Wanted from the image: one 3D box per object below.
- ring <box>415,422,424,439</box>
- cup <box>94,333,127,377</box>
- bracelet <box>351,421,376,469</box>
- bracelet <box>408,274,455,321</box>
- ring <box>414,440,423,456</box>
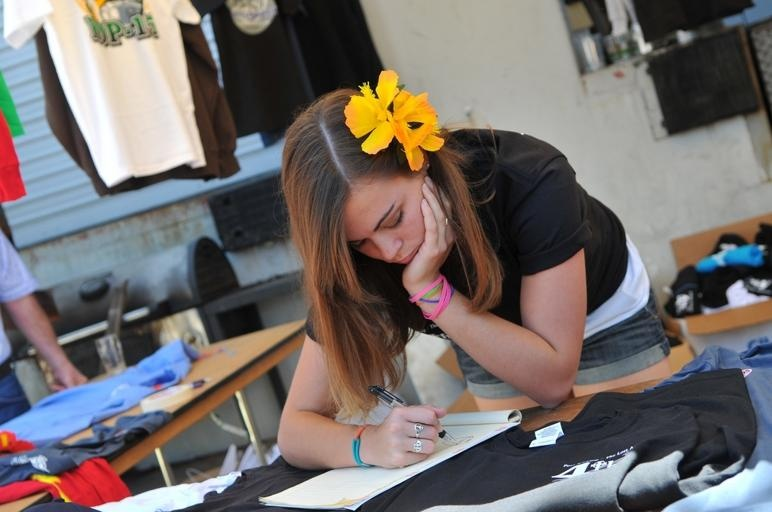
[{"bbox_3d":[0.091,0.473,1.594,0.035,0.046,0.007,-3,-20,1],"label":"ring"},{"bbox_3d":[-1.504,0.525,3.208,0.155,0.284,0.074,-25,-19,13],"label":"cup"},{"bbox_3d":[-0.063,0.548,1.663,0.035,0.091,0.082,-4,-16,6],"label":"bracelet"},{"bbox_3d":[0.161,0.122,1.847,0.138,0.071,0.115,-49,26,-16],"label":"bracelet"},{"bbox_3d":[0.087,0.513,1.583,0.024,0.036,0.008,0,-10,2],"label":"ring"}]
